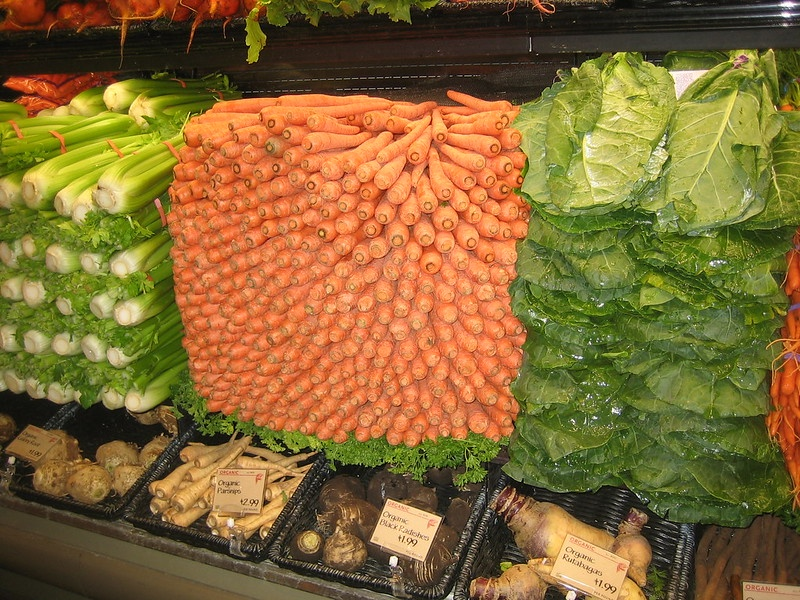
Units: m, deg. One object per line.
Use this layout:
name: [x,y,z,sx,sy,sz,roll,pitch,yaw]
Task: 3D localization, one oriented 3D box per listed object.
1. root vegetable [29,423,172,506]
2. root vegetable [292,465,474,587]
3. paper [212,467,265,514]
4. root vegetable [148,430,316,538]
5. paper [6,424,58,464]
root vegetable: [-1.974,1.072,4.225,0.512,0.158,0.514,3,22,22]
root vegetable: [-0.083,1.278,3.681,0.631,0.648,0.192,9,-40,22]
paper: [-0.959,1.132,3.935,0.359,0.215,0.098,11,-10,24]
root vegetable: [-1.102,1.172,4.071,0.604,0.153,0.622,7,33,15]
paper: [-2.449,0.963,4.433,0.251,0.251,0.059,19,-41,23]
